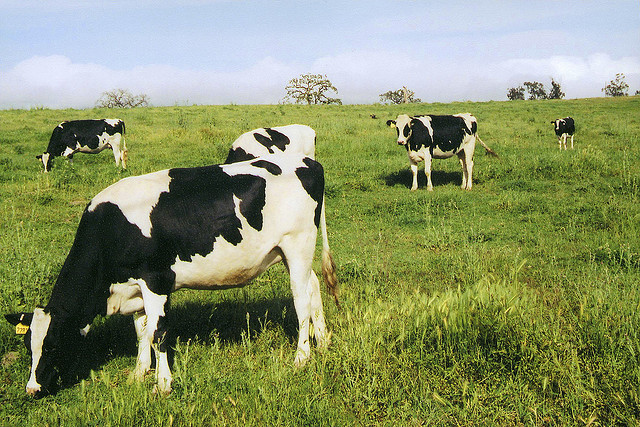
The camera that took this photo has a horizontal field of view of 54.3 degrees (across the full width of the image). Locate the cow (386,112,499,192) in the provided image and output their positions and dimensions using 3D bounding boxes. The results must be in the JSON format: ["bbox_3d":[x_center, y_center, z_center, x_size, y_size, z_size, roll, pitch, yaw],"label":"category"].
[{"bbox_3d":[3.442,-1.843,18.081,2.406,2.092,2.359,-5,9,-7],"label":"cow"}]

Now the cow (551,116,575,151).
[{"bbox_3d":[8.977,-2.933,23.232,0.596,1.126,1.968,-8,5,26],"label":"cow"}]

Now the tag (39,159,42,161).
[{"bbox_3d":[-8.653,-1.665,19.293,0.057,0.063,0.058,4,9,16],"label":"tag"}]

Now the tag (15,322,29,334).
[{"bbox_3d":[-4.388,1.681,9.194,0.156,0.146,0.022,0,-17,-24],"label":"tag"}]
